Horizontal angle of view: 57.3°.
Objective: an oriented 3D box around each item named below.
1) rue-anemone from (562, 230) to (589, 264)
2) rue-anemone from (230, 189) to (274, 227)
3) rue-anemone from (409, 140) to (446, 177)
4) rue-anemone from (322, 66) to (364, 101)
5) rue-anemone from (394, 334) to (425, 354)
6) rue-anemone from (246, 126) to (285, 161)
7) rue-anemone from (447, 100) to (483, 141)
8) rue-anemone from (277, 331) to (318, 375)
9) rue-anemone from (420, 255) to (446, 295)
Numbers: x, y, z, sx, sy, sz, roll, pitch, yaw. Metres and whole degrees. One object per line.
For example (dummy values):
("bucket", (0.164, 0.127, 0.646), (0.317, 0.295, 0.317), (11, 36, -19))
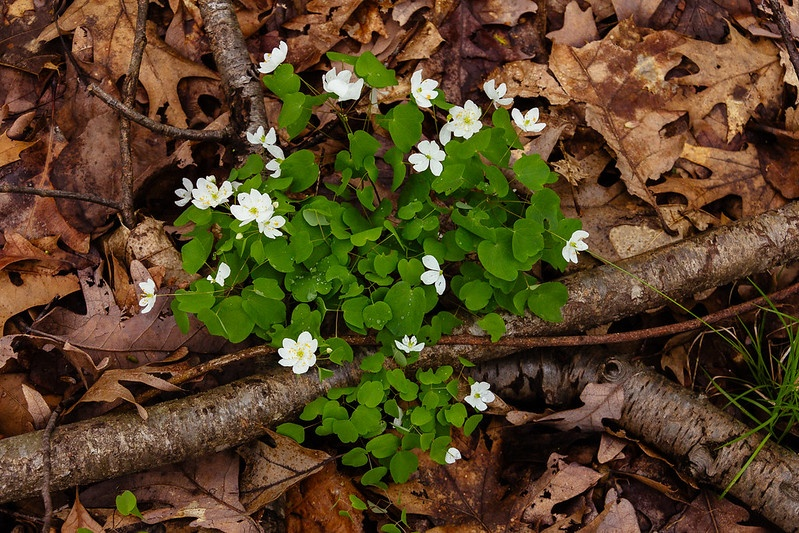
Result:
("rue-anemone", (1.149, -0.152, 4.834), (0.155, 0.219, 0.204), (-4, 31, 11))
("rue-anemone", (-0.934, -0.368, 4.646), (0.268, 0.239, 0.152), (-16, 30, -10))
("rue-anemone", (0.180, -0.703, 4.761), (0.236, 0.264, 0.145), (-8, 30, 5))
("rue-anemone", (-0.360, -1.167, 4.680), (0.239, 0.218, 0.197), (-13, 30, -4))
("rue-anemone", (0.060, 0.517, 4.820), (0.134, 0.058, 0.133), (-14, 66, -4))
("rue-anemone", (-0.916, -0.851, 4.980), (0.101, 0.275, 0.267), (-26, 17, -32))
("rue-anemone", (0.427, -0.950, 4.827), (0.233, 0.253, 0.202), (-8, 30, 4))
("rue-anemone", (-0.633, 0.544, 4.648), (0.297, 0.122, 0.329), (-13, 21, 23))
("rue-anemone", (0.206, 0.051, 4.749), (0.144, 0.266, 0.123), (-6, 30, 8))
